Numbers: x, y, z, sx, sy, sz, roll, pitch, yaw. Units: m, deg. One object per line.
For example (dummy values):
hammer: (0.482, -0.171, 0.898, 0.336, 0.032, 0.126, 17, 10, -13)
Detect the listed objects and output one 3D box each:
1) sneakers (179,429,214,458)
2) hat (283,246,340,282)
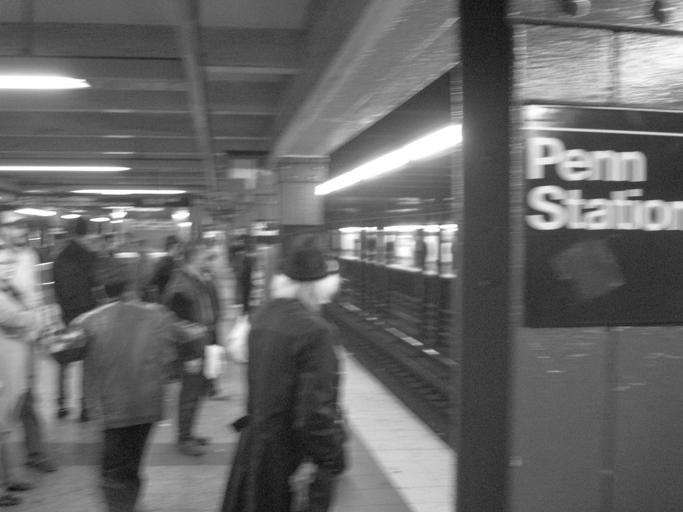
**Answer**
sneakers: (-1.232, 1.562, 5.500, 0.333, 0.185, 0.100, -5, -2, -6)
hat: (-0.161, 0.045, 3.388, 0.219, 0.060, 0.209, 4, 10, 19)
